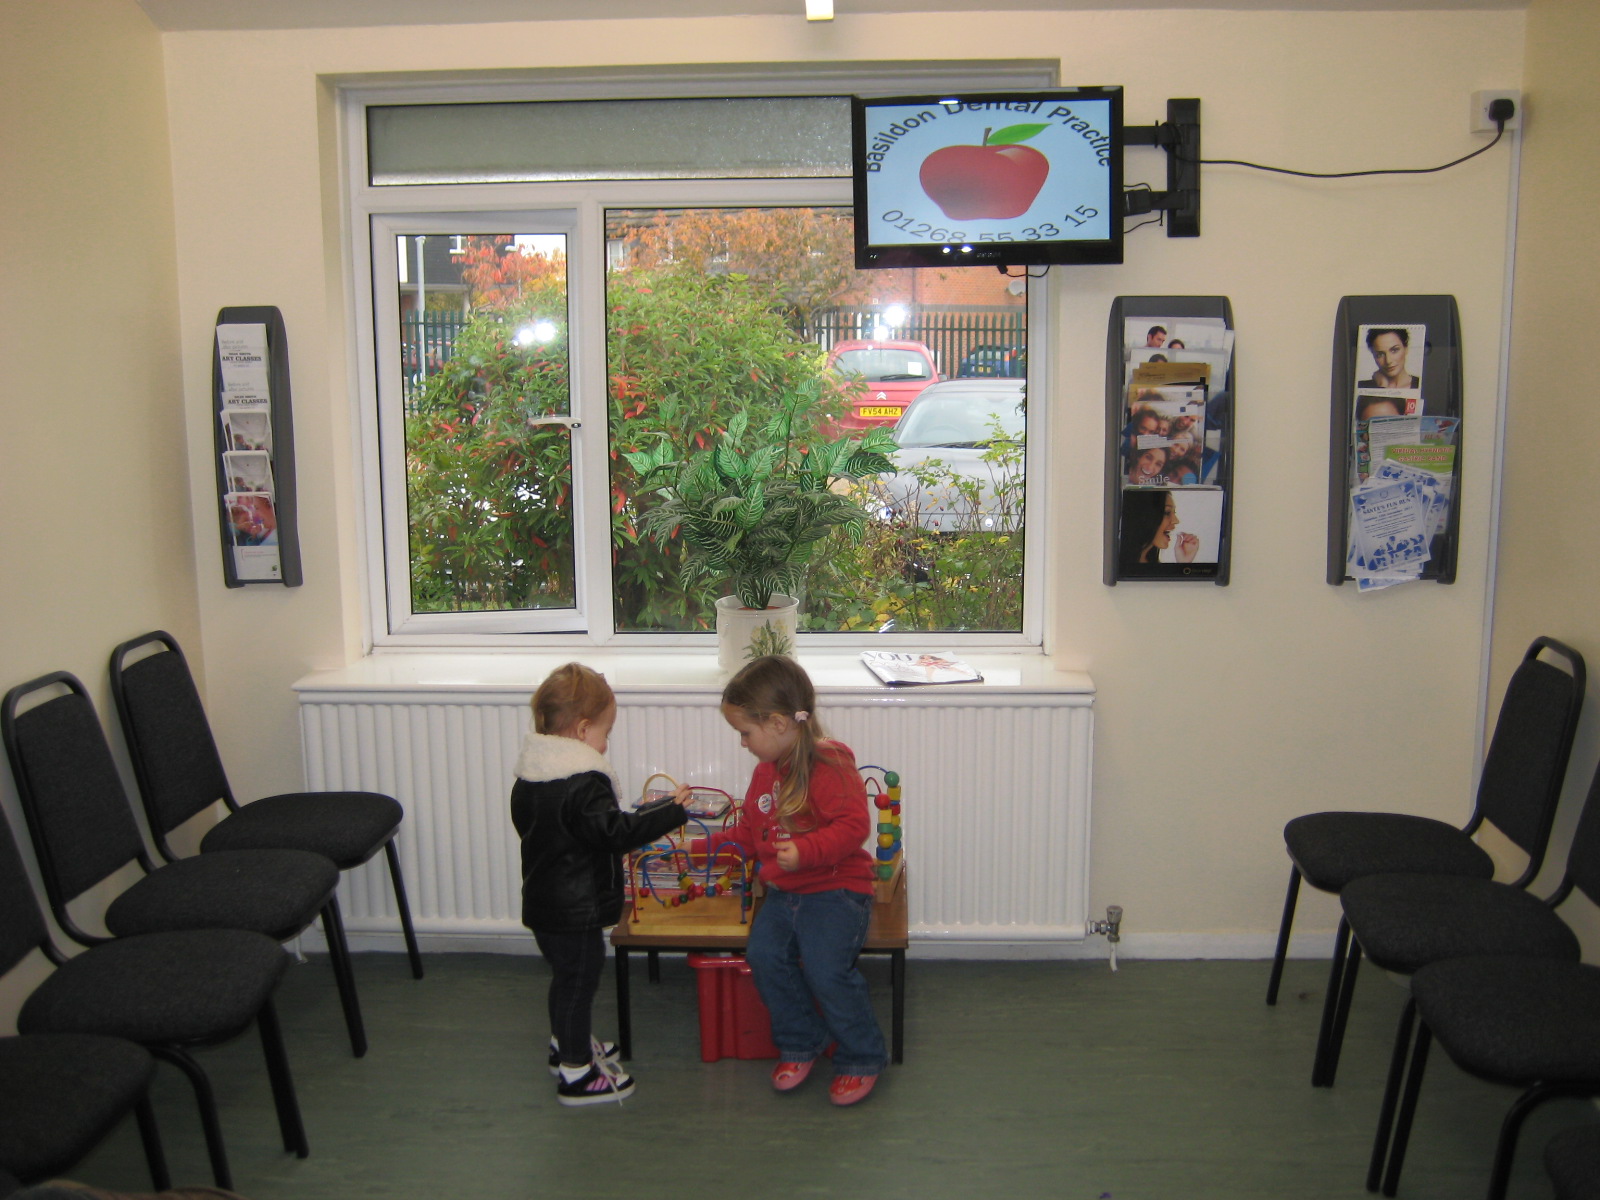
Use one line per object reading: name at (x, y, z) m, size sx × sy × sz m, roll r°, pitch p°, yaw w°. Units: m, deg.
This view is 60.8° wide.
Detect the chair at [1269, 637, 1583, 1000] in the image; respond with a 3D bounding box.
chair at (1.666, 0.511, 3.799) m, size 0.735 × 1.271 × 0.699 m, roll -2°, pitch 6°, yaw 1°

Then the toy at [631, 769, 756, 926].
toy at (-0.271, 0.630, 3.761) m, size 0.396 × 0.423 × 0.329 m, roll 0°, pitch 4°, yaw 2°

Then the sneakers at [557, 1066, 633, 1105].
sneakers at (-0.543, 1.239, 3.539) m, size 0.171 × 0.092 × 0.092 m, roll -1°, pitch 1°, yaw -6°

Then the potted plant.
potted plant at (-0.157, -0.251, 4.506) m, size 0.774 × 0.757 × 0.814 m, roll -1°, pitch 5°, yaw 3°

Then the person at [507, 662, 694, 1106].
person at (-0.523, 0.727, 3.486) m, size 0.410 × 1.126 × 0.240 m, roll 5°, pitch 12°, yaw 29°

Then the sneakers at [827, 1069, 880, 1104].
sneakers at (0.136, 1.245, 3.538) m, size 0.132 × 0.077 × 0.105 m, roll -1°, pitch 11°, yaw 1°

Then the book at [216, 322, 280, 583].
book at (-1.656, -0.436, 4.085) m, size 0.170 × 0.762 × 0.064 m, roll 0°, pitch 11°, yaw 6°

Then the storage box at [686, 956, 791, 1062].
storage box at (-0.195, 1.074, 3.754) m, size 0.264 × 0.279 × 0.264 m, roll -4°, pitch -5°, yaw -20°

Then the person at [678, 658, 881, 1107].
person at (-0.016, 0.713, 3.574) m, size 0.457 × 1.114 × 0.358 m, roll -1°, pitch 11°, yaw 3°

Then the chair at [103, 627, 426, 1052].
chair at (-1.529, 0.651, 3.892) m, size 0.674 × 1.122 × 0.544 m, roll 0°, pitch 12°, yaw 1°
